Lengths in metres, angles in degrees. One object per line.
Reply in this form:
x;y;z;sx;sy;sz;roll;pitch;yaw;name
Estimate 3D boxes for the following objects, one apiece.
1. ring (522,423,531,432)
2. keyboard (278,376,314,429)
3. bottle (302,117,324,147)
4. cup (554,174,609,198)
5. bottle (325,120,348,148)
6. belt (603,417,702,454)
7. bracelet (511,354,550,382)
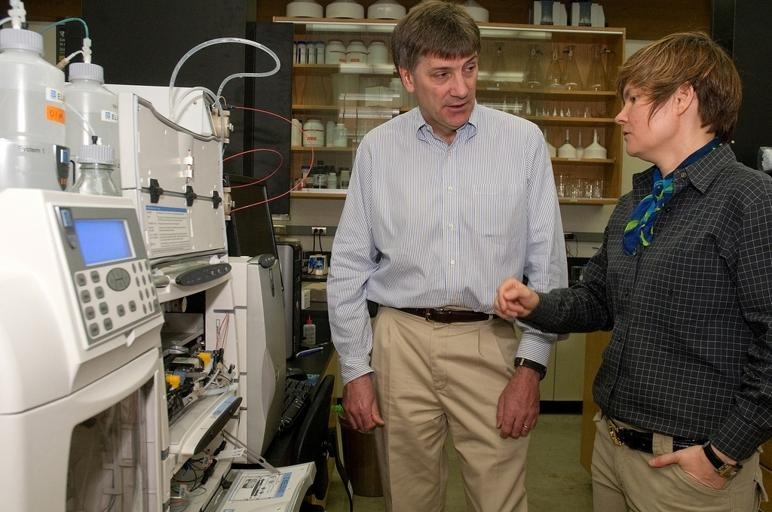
0.416;0.508;1.782;0.014;0.016;0.027;6;-11;29;ring
-0.336;0.525;2.218;0.081;0.030;0.285;13;17;6;keyboard
-0.536;-0.914;4.459;0.170;0.218;0.174;0;5;0;bottle
1.508;-0.527;4.604;0.221;0.140;0.317;0;1;-6;cup
-0.366;-0.894;4.459;0.175;0.210;0.180;0;0;-1;bottle
0.722;0.477;1.599;0.120;0.033;0.118;8;5;-30;belt
0.446;0.341;1.815;0.073;0.028;0.075;12;0;0;bracelet
